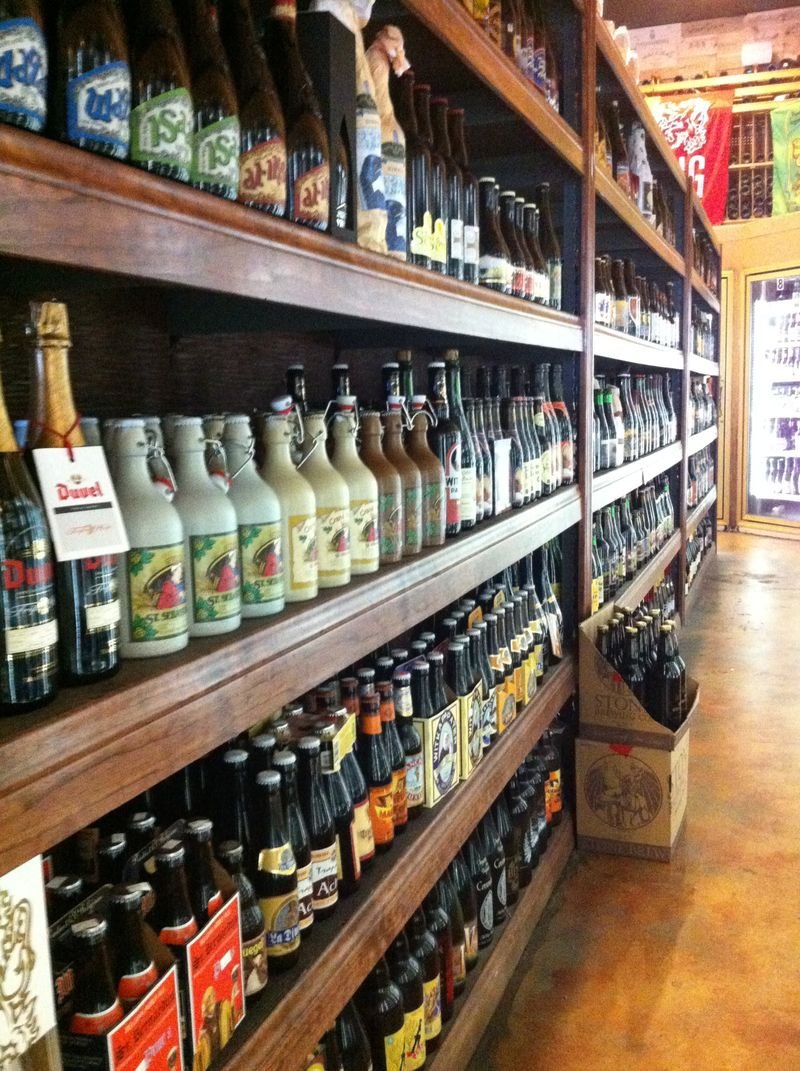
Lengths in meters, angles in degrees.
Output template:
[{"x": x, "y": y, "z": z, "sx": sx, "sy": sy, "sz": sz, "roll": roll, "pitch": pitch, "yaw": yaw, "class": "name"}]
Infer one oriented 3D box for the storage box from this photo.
[{"x": 0.900, "y": 0.729, "z": 2.935, "sx": 0.505, "sy": 1.190, "sz": 0.781, "roll": 0, "pitch": 4, "yaw": 16, "class": "storage box"}]
